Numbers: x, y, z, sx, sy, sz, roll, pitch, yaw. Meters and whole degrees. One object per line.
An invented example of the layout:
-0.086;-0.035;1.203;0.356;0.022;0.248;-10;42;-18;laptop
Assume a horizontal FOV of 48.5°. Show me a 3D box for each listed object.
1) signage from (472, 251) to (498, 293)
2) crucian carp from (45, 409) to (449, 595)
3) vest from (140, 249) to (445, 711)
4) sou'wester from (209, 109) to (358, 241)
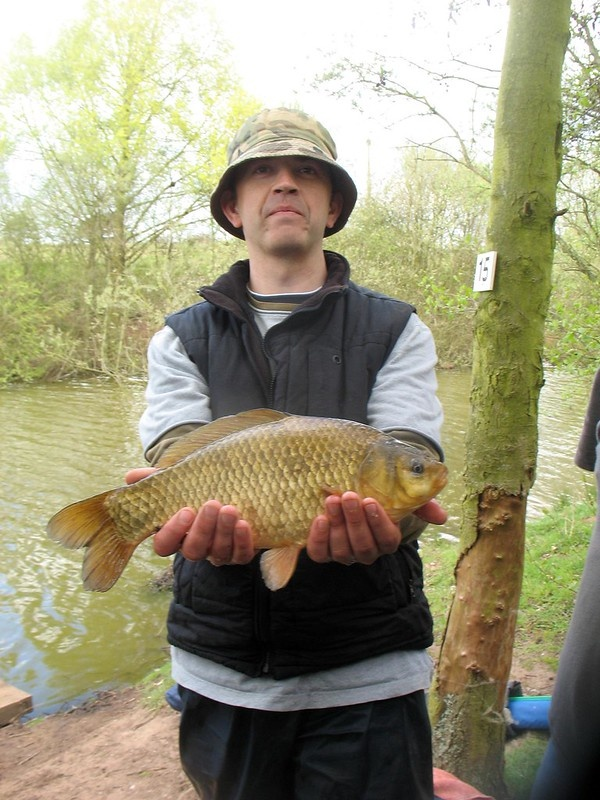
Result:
0.746;-0.517;2.718;0.054;0.167;0.159;1;4;-4;signage
-0.129;0.252;1.614;0.932;0.449;0.185;2;5;10;crucian carp
-0.047;0.260;2.050;1.111;1.317;0.572;0;9;-5;vest
-0.049;-0.789;2.241;0.493;0.290;0.488;1;-26;-3;sou'wester
